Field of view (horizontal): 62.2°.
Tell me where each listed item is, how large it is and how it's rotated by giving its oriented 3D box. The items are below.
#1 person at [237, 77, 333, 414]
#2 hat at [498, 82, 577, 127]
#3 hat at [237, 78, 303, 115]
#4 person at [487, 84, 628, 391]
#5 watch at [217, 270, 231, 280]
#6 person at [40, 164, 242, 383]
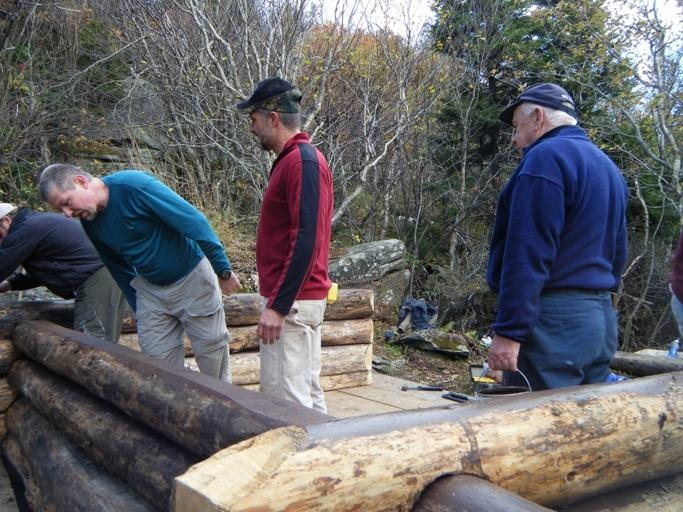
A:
[{"bbox_3d":[-0.318,-0.051,3.828,0.559,2.277,0.658,0,7,-25],"label":"person"},{"bbox_3d":[1.300,-1.005,3.700,0.382,0.202,0.278,15,7,19],"label":"hat"},{"bbox_3d":[-0.487,-1.094,3.862,0.350,0.213,0.236,10,20,6],"label":"hat"},{"bbox_3d":[1.364,-0.137,3.510,0.798,1.897,0.565,4,6,8],"label":"person"},{"bbox_3d":[-0.884,0.142,4.294,0.099,0.083,0.080,3,6,-4],"label":"watch"},{"bbox_3d":[-1.457,0.164,4.356,1.320,1.612,0.320,4,6,0],"label":"person"}]
